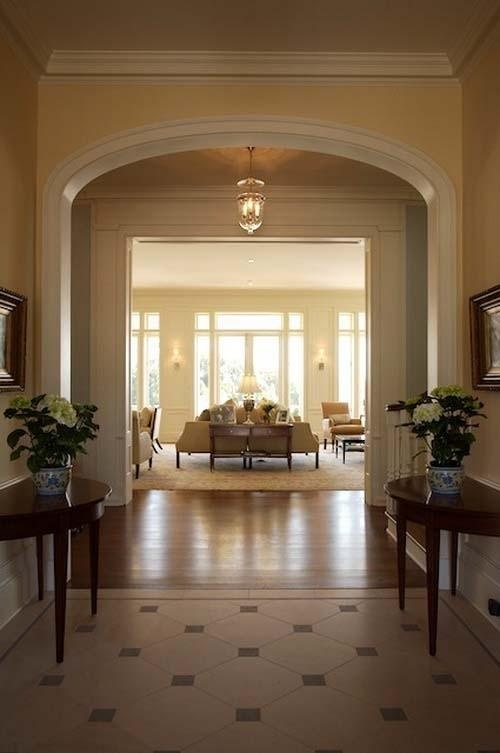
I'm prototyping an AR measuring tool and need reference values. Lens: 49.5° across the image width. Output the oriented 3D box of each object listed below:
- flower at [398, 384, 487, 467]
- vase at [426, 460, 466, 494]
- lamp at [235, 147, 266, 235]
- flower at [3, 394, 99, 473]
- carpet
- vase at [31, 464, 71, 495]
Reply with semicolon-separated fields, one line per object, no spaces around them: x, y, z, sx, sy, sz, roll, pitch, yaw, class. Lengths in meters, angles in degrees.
0.988;0.227;2.780;0.464;0.508;0.460;0;-4;14;flower
0.931;0.469;2.589;0.134;0.105;0.142;1;1;18;vase
0.009;-1.589;4.644;0.200;0.736;0.202;-3;12;-18;lamp
-0.966;0.259;2.696;0.471;0.365;0.487;2;5;27;flower
0.017;1.412;7.983;3.291;0.137;2.829;0;-3;0;carpet
-0.955;0.481;2.605;0.143;0.105;0.148;1;-6;-9;vase
